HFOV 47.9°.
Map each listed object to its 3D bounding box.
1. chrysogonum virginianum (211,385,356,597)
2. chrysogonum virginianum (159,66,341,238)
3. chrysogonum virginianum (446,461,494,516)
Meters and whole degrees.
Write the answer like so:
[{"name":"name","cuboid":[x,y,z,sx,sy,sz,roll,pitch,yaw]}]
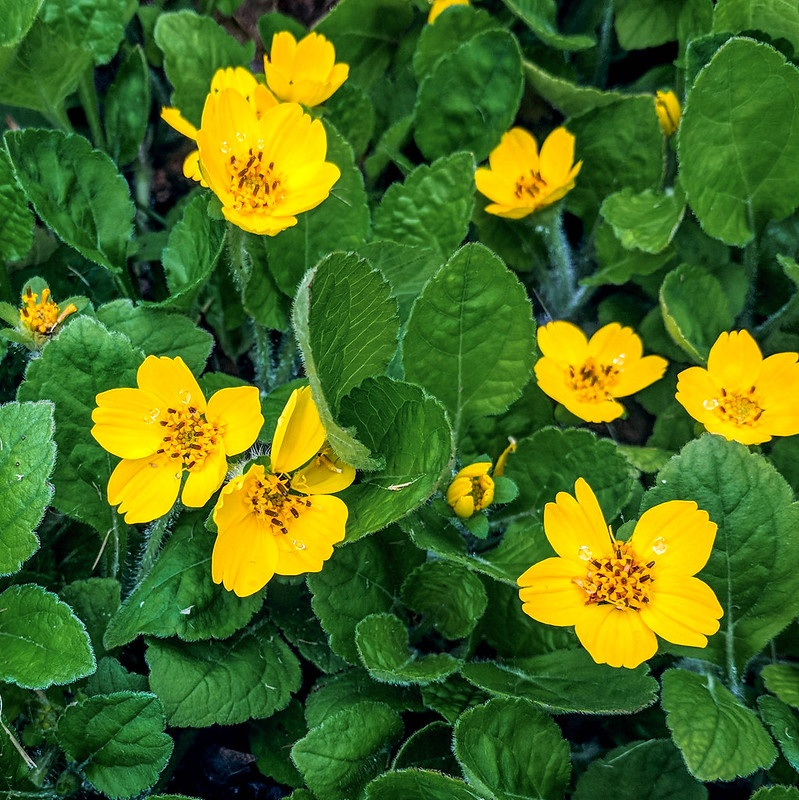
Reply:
[{"name":"chrysogonum virginianum","cuboid":[-0.214,0.169,1.529,0.288,0.107,0.345,-26,50,28]},{"name":"chrysogonum virginianum","cuboid":[-0.271,-0.420,1.672,0.298,0.290,0.142,-45,27,16]},{"name":"chrysogonum virginianum","cuboid":[0.130,0.161,1.608,0.076,0.087,0.101,16,53,12]}]
